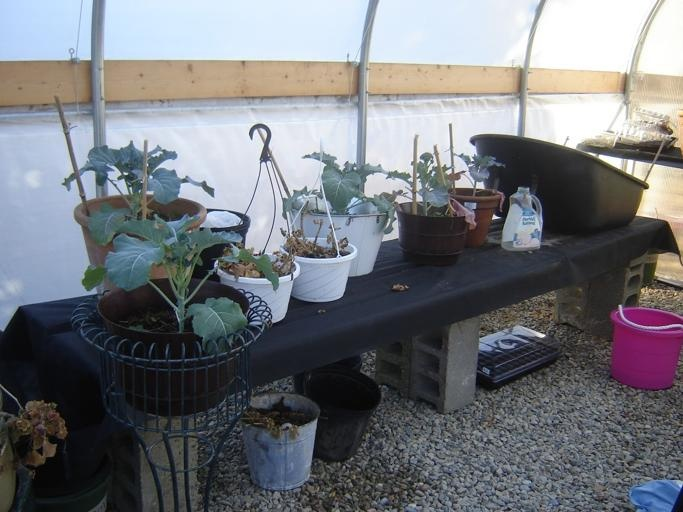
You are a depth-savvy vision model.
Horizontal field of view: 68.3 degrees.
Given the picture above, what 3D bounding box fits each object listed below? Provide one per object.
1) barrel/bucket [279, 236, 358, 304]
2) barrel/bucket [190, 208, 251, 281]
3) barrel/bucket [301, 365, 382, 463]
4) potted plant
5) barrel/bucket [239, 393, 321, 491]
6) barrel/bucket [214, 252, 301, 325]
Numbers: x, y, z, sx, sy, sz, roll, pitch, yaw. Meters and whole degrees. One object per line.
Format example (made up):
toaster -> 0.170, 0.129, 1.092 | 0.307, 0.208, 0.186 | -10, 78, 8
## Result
barrel/bucket -> -0.084, 0.100, 2.320 | 0.282, 0.290, 0.318 | -10, 22, -36
barrel/bucket -> -0.536, -0.109, 2.251 | 0.250, 0.358, 0.232 | 3, 19, -1
barrel/bucket -> 0.008, 0.702, 2.469 | 0.369, 0.329, 0.429 | 12, 18, 11
potted plant -> 0.060, 0.062, 2.649 | 1.789, 0.620, 1.311 | -10, 28, -23
barrel/bucket -> -0.260, 0.826, 2.246 | 0.323, 0.378, 0.235 | 0, 21, 2
barrel/bucket -> -0.366, 0.090, 2.041 | 0.252, 0.252, 0.358 | 14, 23, 24
